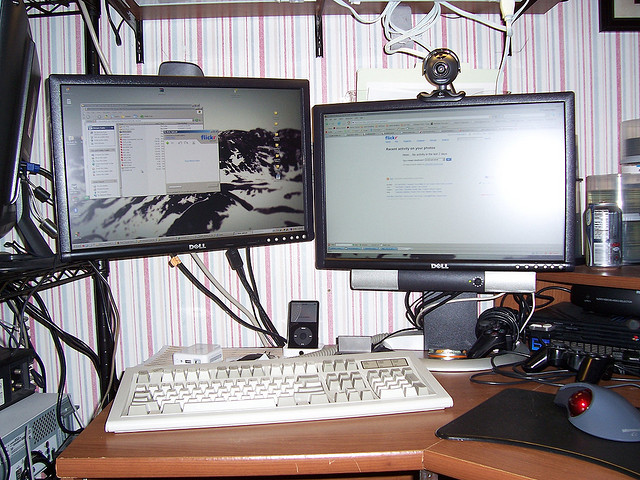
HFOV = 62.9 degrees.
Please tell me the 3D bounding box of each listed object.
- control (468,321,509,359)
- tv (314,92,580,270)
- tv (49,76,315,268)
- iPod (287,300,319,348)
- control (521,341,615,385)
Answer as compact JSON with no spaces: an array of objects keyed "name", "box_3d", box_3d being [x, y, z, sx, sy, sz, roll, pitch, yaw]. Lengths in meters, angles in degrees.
[{"name":"control","box_3d":[0.433,0.262,1.354,0.106,0.025,0.075,-40,44,-12]},{"name":"tv","box_3d":[0.340,-0.152,1.349,0.505,0.320,0.053,-1,7,11]},{"name":"tv","box_3d":[-0.363,-0.194,1.362,0.555,0.358,0.068,-3,3,-14]},{"name":"iPod","box_3d":[-0.050,0.247,1.500,0.089,0.123,0.068,-3,7,-1]},{"name":"control","box_3d":[0.606,0.299,1.277,0.129,0.072,0.193,-10,5,-23]}]
